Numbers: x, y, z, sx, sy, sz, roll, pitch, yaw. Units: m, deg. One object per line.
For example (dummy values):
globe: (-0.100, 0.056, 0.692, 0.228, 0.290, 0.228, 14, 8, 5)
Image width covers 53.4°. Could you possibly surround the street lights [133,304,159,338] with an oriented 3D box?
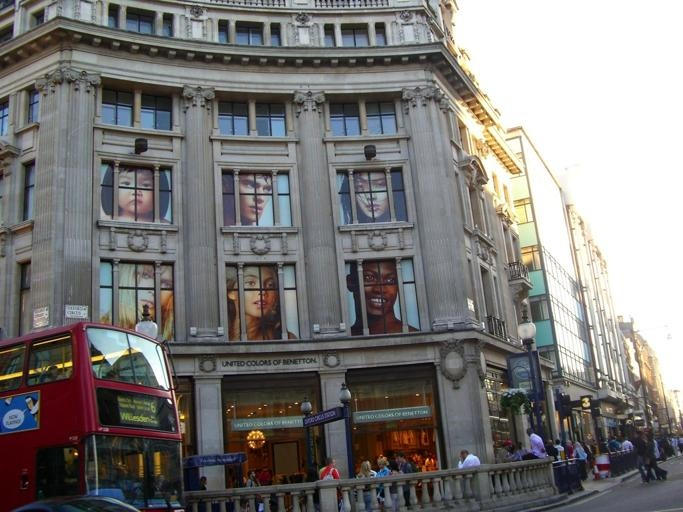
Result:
street lights: (-5.761, 1.935, 20.081, 0.666, 0.897, 0.659, 1, 5, 19)
